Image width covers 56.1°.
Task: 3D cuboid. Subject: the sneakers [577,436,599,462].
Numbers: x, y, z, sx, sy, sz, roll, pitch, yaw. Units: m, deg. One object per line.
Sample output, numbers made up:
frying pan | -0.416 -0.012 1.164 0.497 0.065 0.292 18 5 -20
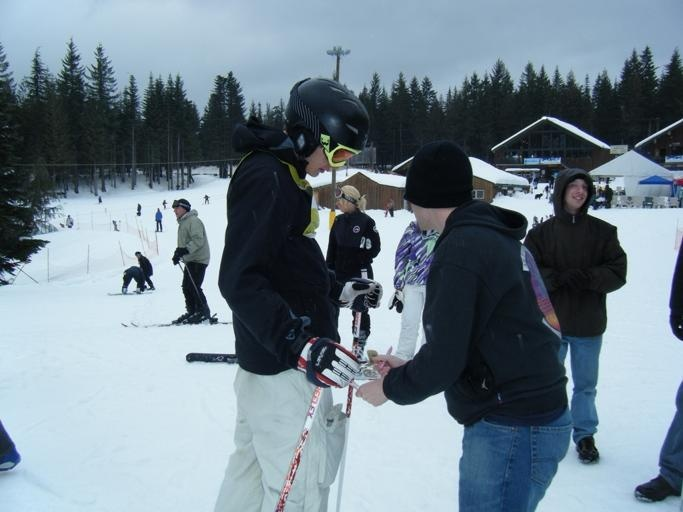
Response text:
sneakers | 2.482 1.951 6.499 0.227 0.234 0.217 4 10 23

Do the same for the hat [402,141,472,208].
hat | 0.723 -0.614 4.851 0.422 0.451 0.483 -8 9 -28

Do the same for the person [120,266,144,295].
person | -5.228 0.588 16.158 0.498 0.701 1.211 -2 10 -14

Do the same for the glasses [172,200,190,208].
glasses | -2.899 -0.947 11.614 0.254 0.163 0.197 19 4 4

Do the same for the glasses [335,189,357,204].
glasses | 0.068 -0.850 9.163 0.227 0.116 0.193 17 4 -13

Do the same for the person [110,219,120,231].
person | -13.563 -1.855 38.444 0.605 0.873 0.219 -4 15 -17

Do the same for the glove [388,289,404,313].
glove | 0.641 0.492 7.447 0.157 0.286 0.197 4 -15 8

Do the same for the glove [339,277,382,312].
glove | 0.165 0.320 5.638 0.344 0.281 0.156 -1 21 -26

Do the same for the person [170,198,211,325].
person | -2.683 0.113 11.500 0.629 2.197 0.906 -2 9 -15
